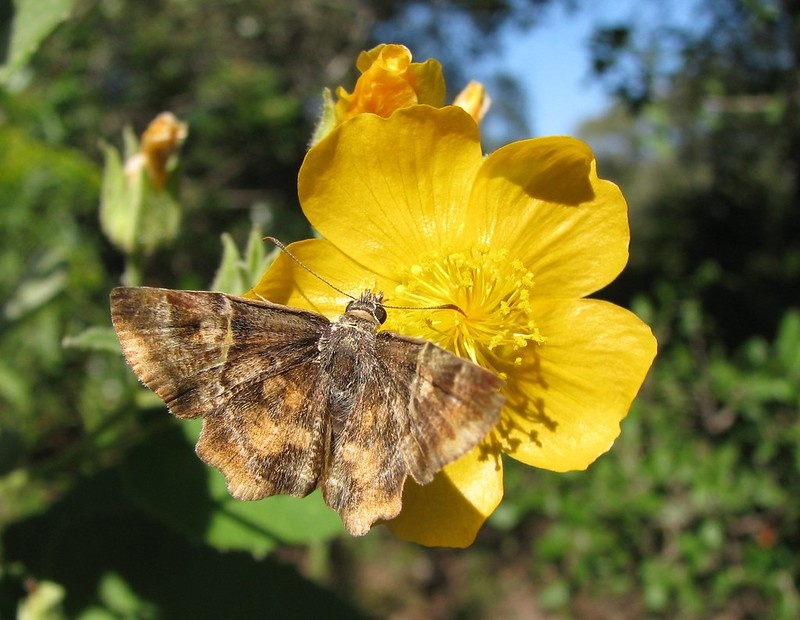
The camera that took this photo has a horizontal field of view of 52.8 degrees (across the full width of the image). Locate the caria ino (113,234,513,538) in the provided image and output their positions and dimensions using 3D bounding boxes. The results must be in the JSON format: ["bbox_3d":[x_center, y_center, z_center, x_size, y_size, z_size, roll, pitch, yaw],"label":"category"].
[{"bbox_3d":[-0.242,0.258,2.105,1.009,0.257,0.644,-1,81,2],"label":"caria ino"}]

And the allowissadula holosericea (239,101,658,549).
[{"bbox_3d":[0.148,-0.013,2.130,1.029,0.438,1.139,23,62,9],"label":"allowissadula holosericea"}]
